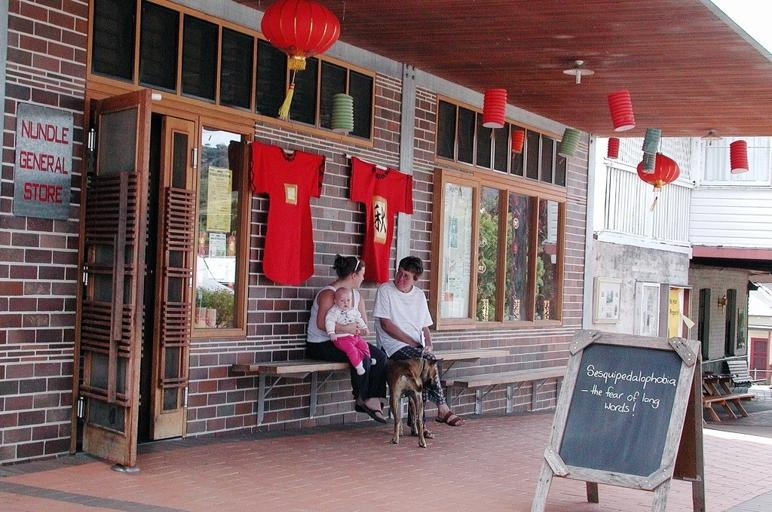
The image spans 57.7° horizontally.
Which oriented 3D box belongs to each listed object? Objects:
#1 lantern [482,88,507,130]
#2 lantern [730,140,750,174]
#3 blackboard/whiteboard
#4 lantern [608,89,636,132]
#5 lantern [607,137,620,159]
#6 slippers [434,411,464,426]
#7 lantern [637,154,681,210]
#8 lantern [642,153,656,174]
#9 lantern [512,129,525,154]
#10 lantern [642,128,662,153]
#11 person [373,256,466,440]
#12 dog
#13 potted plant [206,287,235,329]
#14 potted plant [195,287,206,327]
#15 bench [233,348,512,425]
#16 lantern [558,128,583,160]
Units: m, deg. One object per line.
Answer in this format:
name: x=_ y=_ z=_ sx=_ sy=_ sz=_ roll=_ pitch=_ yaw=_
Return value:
lantern: x=1.541 y=-2.108 z=9.847 sx=0.297 sy=0.553 sz=0.296 roll=3 pitch=0 yaw=3
lantern: x=6.224 y=-1.778 z=12.324 sx=0.276 sy=0.543 sz=0.656 roll=3 pitch=0 yaw=29
blackboard/whiteboard: x=2.048 y=1.299 z=6.053 sx=1.150 sy=1.259 sz=0.708 roll=3 pitch=0 yaw=25
lantern: x=3.277 y=-2.044 z=9.696 sx=0.315 sy=0.536 sz=0.222 roll=3 pitch=0 yaw=28
lantern: x=4.290 y=-2.072 z=13.182 sx=0.173 sy=0.403 sz=0.363 roll=3 pitch=0 yaw=28
slippers: x=0.880 y=2.209 z=9.481 sx=0.332 sy=0.149 sz=0.184 roll=1 pitch=0 yaw=34
lantern: x=4.684 y=-1.364 z=12.087 sx=0.683 sy=0.903 sz=0.510 roll=3 pitch=0 yaw=-45
lantern: x=4.476 y=-1.575 z=11.913 sx=0.286 sy=0.468 sz=0.307 roll=1 pitch=1 yaw=20
lantern: x=2.261 y=-1.993 z=11.959 sx=0.187 sy=0.426 sz=0.480 roll=3 pitch=0 yaw=18
lantern: x=4.536 y=-1.991 z=11.934 sx=0.240 sy=0.408 sz=0.569 roll=3 pitch=0 yaw=23
person: x=0.432 y=1.084 z=9.059 sx=0.873 sy=2.267 sz=0.915 roll=1 pitch=-1 yaw=-37
dog: x=0.313 y=1.707 z=8.353 sx=0.545 sy=1.015 sz=0.567 roll=3 pitch=0 yaw=-15
potted plant: x=-1.939 y=0.585 z=8.360 sx=0.384 sy=0.549 sz=0.442 roll=-1 pitch=3 yaw=-40
potted plant: x=-2.139 y=0.603 z=8.102 sx=0.047 sy=0.460 sz=0.140 roll=3 pitch=0 yaw=39
bench: x=-0.287 y=1.688 z=9.066 sx=3.581 sy=1.202 sz=0.887 roll=5 pitch=-5 yaw=-35
lantern: x=3.156 y=-1.983 z=12.034 sx=0.286 sy=0.487 sz=0.271 roll=3 pitch=0 yaw=6
